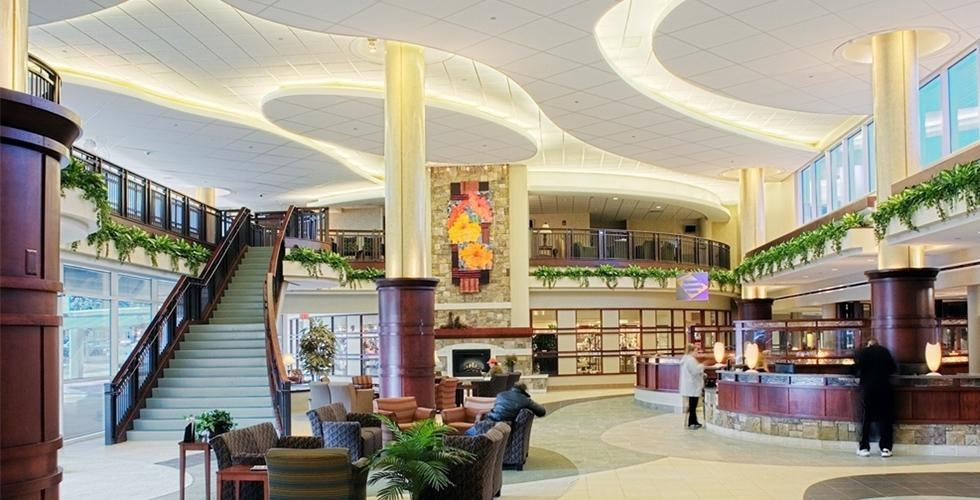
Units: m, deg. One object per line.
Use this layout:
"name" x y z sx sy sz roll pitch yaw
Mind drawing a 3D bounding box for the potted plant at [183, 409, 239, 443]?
"potted plant" -5.728 3.603 14.255 0.988 0.386 0.848 -1 -5 -5

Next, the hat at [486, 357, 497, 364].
"hat" 0.156 4.268 26.811 0.471 0.235 0.556 2 -2 -12

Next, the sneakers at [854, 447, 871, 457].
"sneakers" 8.728 4.640 16.031 0.351 0.152 0.285 0 5 6

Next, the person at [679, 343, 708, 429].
"person" 5.651 3.709 19.216 0.561 2.320 0.647 0 6 15

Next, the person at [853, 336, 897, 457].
"person" 9.032 3.426 16.137 0.849 2.578 0.944 1 7 26

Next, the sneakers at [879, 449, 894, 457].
"sneakers" 9.209 4.644 16.014 0.250 0.167 0.392 2 5 30

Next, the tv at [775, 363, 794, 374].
"tv" 7.583 2.982 17.660 0.528 0.222 0.318 -6 -14 29

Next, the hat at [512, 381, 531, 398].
"hat" 0.695 3.159 15.817 0.389 0.360 0.452 -1 -4 28
